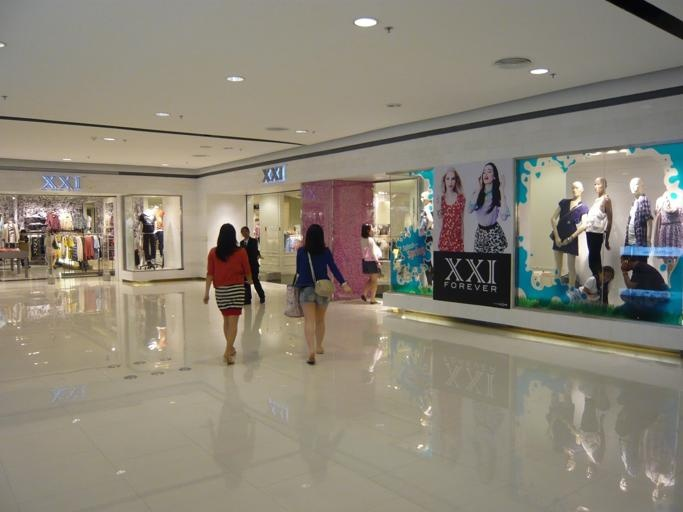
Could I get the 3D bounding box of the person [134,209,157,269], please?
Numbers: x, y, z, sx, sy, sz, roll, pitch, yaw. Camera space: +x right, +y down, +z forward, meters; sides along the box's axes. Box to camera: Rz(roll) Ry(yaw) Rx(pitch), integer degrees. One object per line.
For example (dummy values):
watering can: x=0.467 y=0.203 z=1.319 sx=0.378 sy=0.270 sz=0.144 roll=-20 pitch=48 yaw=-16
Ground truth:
person: x=-6.807 y=-0.563 z=16.017 sx=0.648 sy=1.928 sz=0.440 roll=-2 pitch=3 yaw=-27

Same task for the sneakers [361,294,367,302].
sneakers: x=0.530 y=1.017 z=11.233 sx=0.113 sy=0.184 sz=0.169 roll=-2 pitch=-1 yaw=44

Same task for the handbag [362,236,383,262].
handbag: x=0.702 y=-0.165 z=10.747 sx=0.255 sy=0.457 sz=0.444 roll=-16 pitch=19 yaw=-26

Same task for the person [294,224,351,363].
person: x=-0.330 y=0.485 z=6.431 sx=0.619 sy=1.875 sz=0.802 roll=-1 pitch=3 yaw=-6

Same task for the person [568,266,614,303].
person: x=3.863 y=0.435 z=7.210 sx=0.353 sy=0.332 sz=0.923 roll=0 pitch=-34 yaw=-20

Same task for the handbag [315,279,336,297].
handbag: x=-0.227 y=0.452 z=6.147 sx=0.274 sy=0.292 sz=0.201 roll=7 pitch=-12 yaw=-21

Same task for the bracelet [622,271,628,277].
bracelet: x=4.198 y=0.255 z=6.782 sx=0.047 sy=0.048 sz=0.049 roll=0 pitch=10 yaw=4

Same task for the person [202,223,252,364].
person: x=-1.566 y=0.492 z=6.355 sx=0.626 sy=1.877 sz=0.545 roll=-1 pitch=3 yaw=-18
